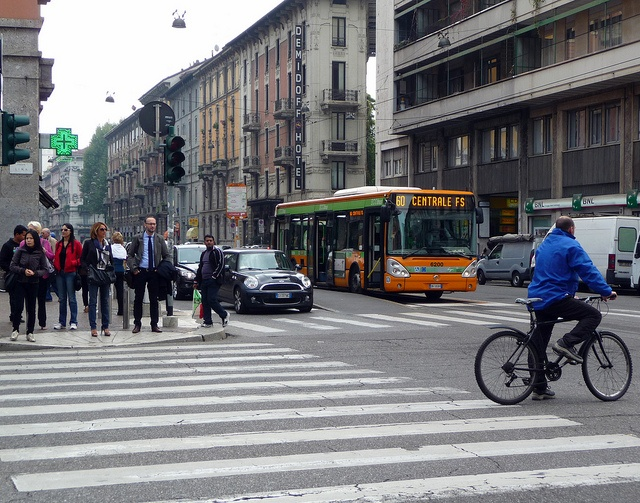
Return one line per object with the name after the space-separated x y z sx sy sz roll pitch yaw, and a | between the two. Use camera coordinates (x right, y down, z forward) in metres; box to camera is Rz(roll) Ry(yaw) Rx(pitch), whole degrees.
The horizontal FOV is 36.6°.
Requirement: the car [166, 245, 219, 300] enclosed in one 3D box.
-3.564 0.502 27.401 1.038 1.166 2.049 0 -3 -17 | car

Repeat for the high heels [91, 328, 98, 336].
-3.996 1.420 17.060 0.093 0.129 0.312 0 -5 -15 | high heels

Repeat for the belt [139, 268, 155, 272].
-3.090 0.324 17.256 0.269 0.063 0.062 -1 1 -29 | belt

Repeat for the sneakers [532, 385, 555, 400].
2.825 1.766 12.145 0.324 0.170 0.121 -5 7 -21 | sneakers

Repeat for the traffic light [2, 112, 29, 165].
-5.830 -2.181 18.456 0.392 0.973 0.971 -2 1 -44 | traffic light

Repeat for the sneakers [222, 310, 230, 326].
-1.876 1.339 19.234 0.101 0.306 0.126 -19 -37 32 | sneakers

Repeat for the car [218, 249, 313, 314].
-1.532 0.706 23.022 1.269 0.960 2.105 0 -2 -23 | car

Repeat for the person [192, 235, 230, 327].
-2.117 0.576 18.789 0.624 1.802 0.930 -1 1 -7 | person

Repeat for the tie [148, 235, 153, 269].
-3.031 0.016 17.319 0.097 0.604 0.166 -1 1 -6 | tie

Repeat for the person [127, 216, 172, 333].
-3.104 0.425 17.532 0.749 2.093 0.720 -1 1 -11 | person

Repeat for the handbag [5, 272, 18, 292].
-5.314 0.507 16.630 0.181 0.391 0.269 11 8 14 | handbag

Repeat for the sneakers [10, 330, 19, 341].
-5.213 1.428 16.425 0.091 0.131 0.287 1 -1 -4 | sneakers

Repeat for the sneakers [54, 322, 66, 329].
-4.901 1.398 18.069 0.257 0.132 0.106 7 3 -6 | sneakers

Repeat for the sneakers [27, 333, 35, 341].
-4.899 1.456 16.365 0.085 0.109 0.249 -1 0 -35 | sneakers

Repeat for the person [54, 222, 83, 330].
-4.700 0.461 17.970 0.515 1.979 1.186 -1 1 -16 | person

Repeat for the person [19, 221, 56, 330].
-5.069 0.587 16.742 0.561 1.874 0.607 3 -1 -6 | person

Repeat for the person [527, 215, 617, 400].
3.070 0.705 11.978 0.894 2.291 0.381 -1 1 12 | person

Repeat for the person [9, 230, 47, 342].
-5.039 0.550 16.680 0.639 1.849 0.737 -1 1 -17 | person

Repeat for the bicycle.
2.870 1.257 12.546 2.031 1.323 1.054 -1 2 -11 | bicycle

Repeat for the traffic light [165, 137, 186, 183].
-2.763 -1.735 18.331 0.344 0.928 0.612 -1 1 -10 | traffic light
